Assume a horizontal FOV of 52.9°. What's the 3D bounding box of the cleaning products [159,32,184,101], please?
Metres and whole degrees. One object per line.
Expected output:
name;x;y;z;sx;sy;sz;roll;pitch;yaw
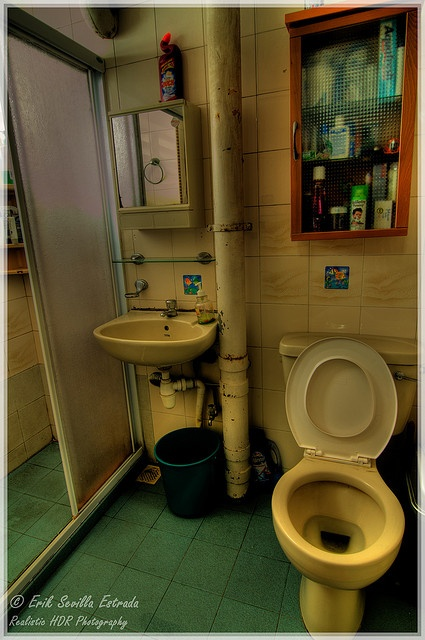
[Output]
cleaning products;-0.171;-0.936;1.589;0.102;0.233;0.100;-1;14;13

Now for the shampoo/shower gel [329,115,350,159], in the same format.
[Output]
shampoo/shower gel;0.422;-0.598;1.384;0.080;0.127;0.080;-16;26;-35

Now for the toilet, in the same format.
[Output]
toilet;0.350;0.438;1.229;0.351;0.653;0.503;1;15;19

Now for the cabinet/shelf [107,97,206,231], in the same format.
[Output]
cabinet/shelf;-0.201;-0.587;1.598;0.413;0.534;0.200;7;27;20

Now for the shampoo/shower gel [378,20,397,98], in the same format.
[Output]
shampoo/shower gel;0.514;-0.769;1.277;0.053;0.235;0.018;29;66;36

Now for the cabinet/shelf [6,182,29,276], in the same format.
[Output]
cabinet/shelf;-0.957;-0.412;2.027;0.090;0.434;0.194;-10;15;-24

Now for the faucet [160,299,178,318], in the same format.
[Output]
faucet;-0.180;-0.042;1.792;0.045;0.085;0.088;4;11;25

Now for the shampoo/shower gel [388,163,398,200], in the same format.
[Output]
shampoo/shower gel;0.553;-0.430;1.331;0.008;0.113;0.031;-13;17;-33

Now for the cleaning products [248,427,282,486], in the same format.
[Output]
cleaning products;0.219;0.618;1.861;0.142;0.284;0.143;-11;-26;-2

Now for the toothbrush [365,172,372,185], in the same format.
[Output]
toothbrush;0.490;-0.450;1.363;0.006;0.033;0.031;3;3;-16

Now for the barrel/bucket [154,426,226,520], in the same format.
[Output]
barrel/bucket;-0.046;0.629;1.819;0.282;0.319;0.324;0;22;10
